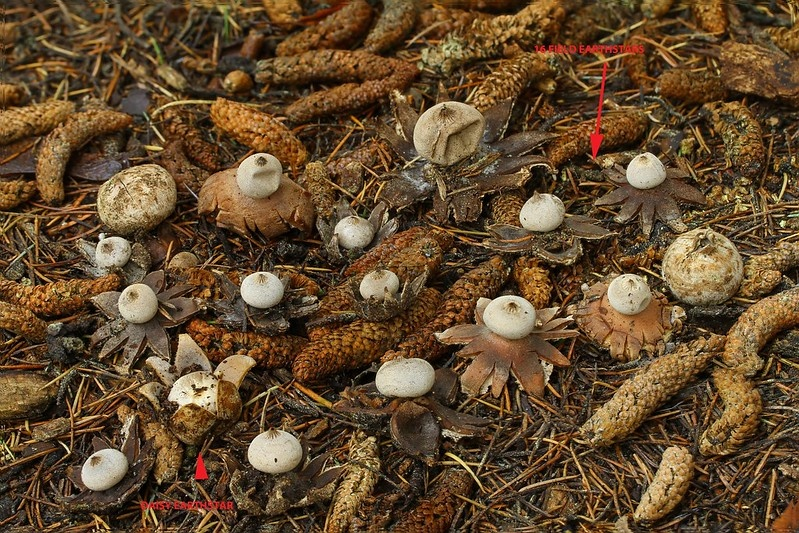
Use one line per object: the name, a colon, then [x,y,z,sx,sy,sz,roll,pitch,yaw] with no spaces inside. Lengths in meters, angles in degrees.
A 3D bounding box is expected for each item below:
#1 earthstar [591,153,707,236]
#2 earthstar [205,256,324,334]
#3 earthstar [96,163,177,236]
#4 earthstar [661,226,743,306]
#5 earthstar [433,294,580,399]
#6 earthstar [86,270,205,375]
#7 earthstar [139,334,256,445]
earthstar: [1.503,-0.424,5.047,0.516,0.181,0.550,26,67,9]
earthstar: [-0.744,0.199,4.813,0.417,0.167,0.441,18,37,13]
earthstar: [-1.607,-0.434,5.117,0.397,0.289,0.430,37,67,27]
earthstar: [1.687,0.025,4.741,0.394,0.430,0.442,-18,74,10]
earthstar: [0.606,0.364,4.758,0.767,0.333,0.819,6,36,9]
earthstar: [-1.471,0.323,4.898,0.521,0.152,0.549,33,75,11]
earthstar: [-1.184,0.753,4.825,0.623,0.244,0.475,28,66,26]
